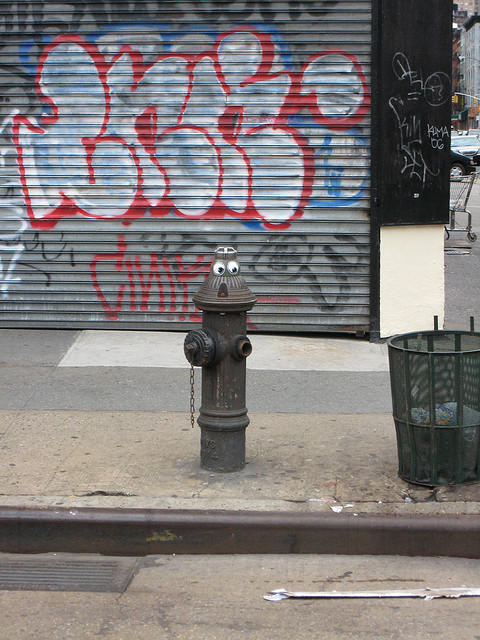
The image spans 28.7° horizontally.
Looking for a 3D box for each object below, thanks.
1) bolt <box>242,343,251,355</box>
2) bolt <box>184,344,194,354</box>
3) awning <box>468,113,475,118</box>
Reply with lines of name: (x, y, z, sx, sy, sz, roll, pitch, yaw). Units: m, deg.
bolt: (0.034, 0.177, 5.658, 0.048, 0.078, 0.069, -1, 11, 2)
bolt: (-0.322, 0.183, 5.626, 0.066, 0.059, 0.050, 0, 0, -19)
awning: (23.510, -20.720, 95.016, 0.573, 0.285, 3.220, 1, 10, 13)
